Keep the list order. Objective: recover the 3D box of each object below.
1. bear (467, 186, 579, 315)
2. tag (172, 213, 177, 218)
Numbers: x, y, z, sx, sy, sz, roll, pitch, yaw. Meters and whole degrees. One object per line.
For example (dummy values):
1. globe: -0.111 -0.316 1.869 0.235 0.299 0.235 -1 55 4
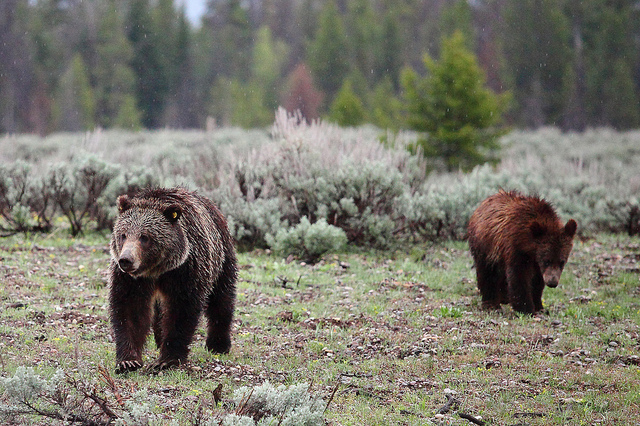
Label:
1. bear: 5.479 1.098 29.398 1.762 3.615 3.753 -6 14 -20
2. tag: -3.655 0.066 26.501 0.116 0.136 0.039 1 0 -27
